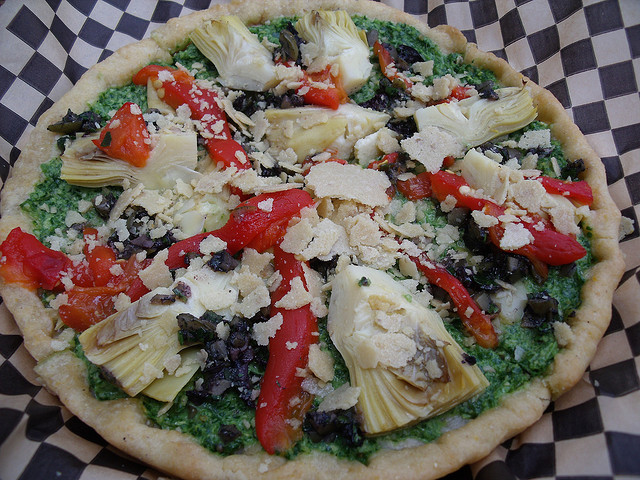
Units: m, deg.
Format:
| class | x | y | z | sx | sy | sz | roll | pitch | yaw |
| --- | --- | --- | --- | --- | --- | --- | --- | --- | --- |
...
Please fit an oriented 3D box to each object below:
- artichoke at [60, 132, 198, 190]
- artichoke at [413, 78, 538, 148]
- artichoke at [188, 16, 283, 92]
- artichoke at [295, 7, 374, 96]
| class | x | y | z | sx | sy | sz | roll | pitch | yaw |
| --- | --- | --- | --- | --- | --- | --- | --- | --- | --- |
| artichoke | -1.305 | -0.538 | 3.832 | 0.915 | 0.153 | 0.386 | 1 | 84 | 0 |
| artichoke | 1.108 | -0.852 | 4.005 | 0.863 | 0.169 | 0.371 | -18 | 84 | -2 |
| artichoke | -0.610 | -1.370 | 4.152 | 0.459 | 0.211 | 0.790 | -34 | 85 | -3 |
| artichoke | 0.143 | -1.472 | 4.150 | 0.440 | 0.256 | 0.731 | -40 | 86 | -4 |
